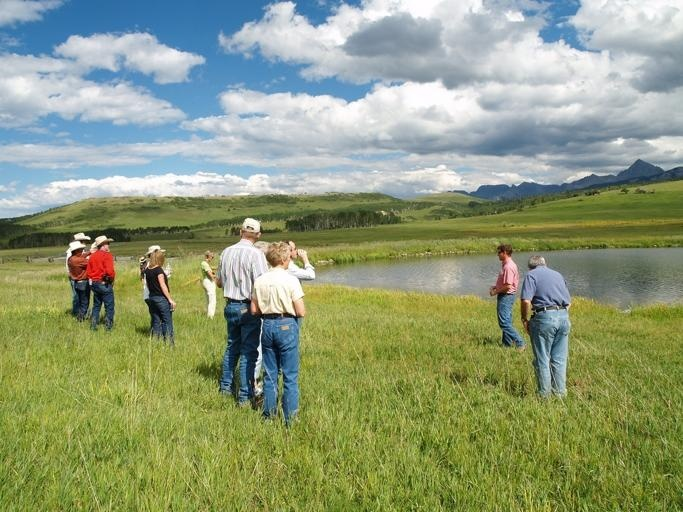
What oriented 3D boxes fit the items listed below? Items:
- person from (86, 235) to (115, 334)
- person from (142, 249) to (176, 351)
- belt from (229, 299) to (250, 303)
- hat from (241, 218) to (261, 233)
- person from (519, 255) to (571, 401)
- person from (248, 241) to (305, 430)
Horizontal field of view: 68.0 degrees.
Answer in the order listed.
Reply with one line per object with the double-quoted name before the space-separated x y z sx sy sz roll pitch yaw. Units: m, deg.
"person" -7.001 0.741 14.800 0.714 2.644 1.443 -2 5 -25
"person" -4.839 1.036 13.489 0.714 2.570 1.359 -2 5 -20
"belt" -2.046 0.911 10.146 0.398 0.094 0.112 -1 4 -7
"hat" -1.918 -0.655 10.789 0.288 0.258 0.435 3 10 -13
"person" 4.267 1.477 10.804 1.140 2.992 0.974 3 -4 -13
"person" -1.150 1.429 9.341 0.725 3.323 0.960 -4 6 -38
